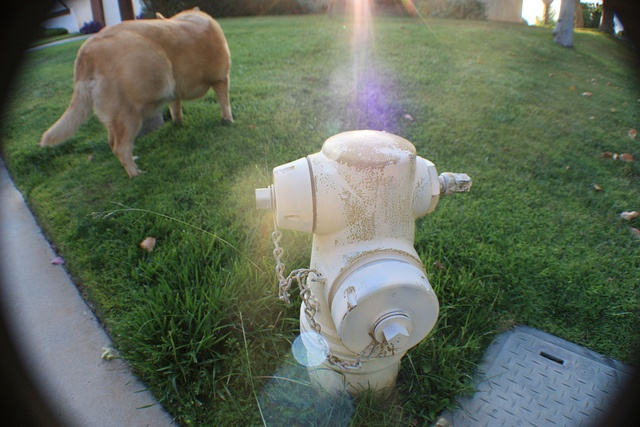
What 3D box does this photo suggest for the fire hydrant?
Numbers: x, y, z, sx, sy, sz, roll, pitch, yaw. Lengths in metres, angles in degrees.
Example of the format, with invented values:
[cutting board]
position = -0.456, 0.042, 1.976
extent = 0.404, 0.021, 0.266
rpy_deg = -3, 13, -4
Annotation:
[fire hydrant]
position = 0.244, 0.363, 3.224
extent = 1.144, 1.581, 0.944
rpy_deg = 7, 35, 12
